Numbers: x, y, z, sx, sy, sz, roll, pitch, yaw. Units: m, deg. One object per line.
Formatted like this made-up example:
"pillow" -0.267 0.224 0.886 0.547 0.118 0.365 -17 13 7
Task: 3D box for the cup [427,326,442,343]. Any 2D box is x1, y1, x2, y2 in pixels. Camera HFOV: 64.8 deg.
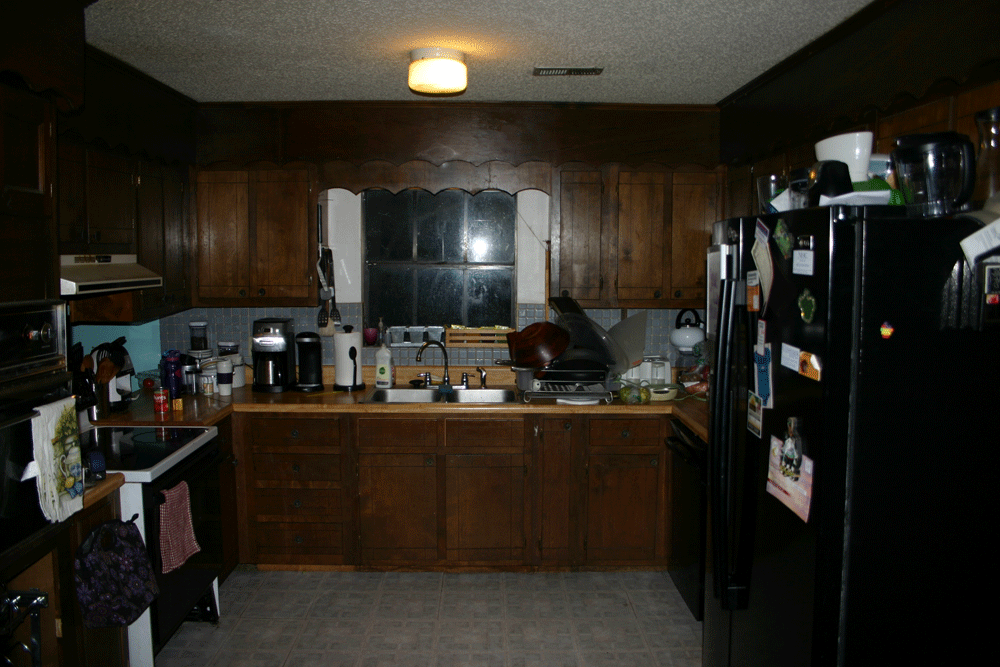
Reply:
"cup" -0.458 0.005 5.634 0.110 0.125 0.108 0 8 0

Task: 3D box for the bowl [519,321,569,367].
"bowl" 0.277 0.050 5.040 0.254 0.290 0.253 2 48 -3

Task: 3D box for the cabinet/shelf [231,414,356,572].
"cabinet/shelf" -1.419 1.069 5.144 0.708 0.969 0.575 4 -17 -34

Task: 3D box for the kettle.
"kettle" 1.567 -0.582 2.846 0.330 0.319 0.266 3 7 35

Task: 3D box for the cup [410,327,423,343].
"cup" -0.596 0.010 5.755 0.105 0.114 0.103 0 2 0

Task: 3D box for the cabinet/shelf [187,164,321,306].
"cabinet/shelf" -1.627 -0.694 5.231 0.960 1.085 0.431 0 2 -2

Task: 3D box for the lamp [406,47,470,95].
"lamp" -0.324 -1.431 4.360 0.351 0.207 0.344 -5 11 -38

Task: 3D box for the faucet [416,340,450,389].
"faucet" -0.452 0.190 5.415 0.239 0.370 0.373 -1 14 -4

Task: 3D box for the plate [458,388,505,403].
"plate" -0.120 0.417 5.414 0.340 0.078 0.120 -2 14 -9

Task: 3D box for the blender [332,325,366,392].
"blender" -1.001 0.165 5.255 0.150 0.399 0.171 7 16 27

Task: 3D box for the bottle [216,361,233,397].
"bottle" -1.780 0.281 5.106 0.094 0.210 0.153 -6 15 -22

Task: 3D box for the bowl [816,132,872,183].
"bowl" 1.347 -0.695 3.098 0.201 0.191 0.215 0 14 0

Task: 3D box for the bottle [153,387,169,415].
"bottle" -1.985 0.388 4.638 0.083 0.126 0.225 -6 15 -22

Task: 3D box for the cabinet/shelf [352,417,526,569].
"cabinet/shelf" -0.384 0.949 4.907 0.941 0.787 0.325 0 -1 0

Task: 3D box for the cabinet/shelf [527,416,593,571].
"cabinet/shelf" 0.360 0.987 4.919 0.310 0.920 0.188 1 14 3

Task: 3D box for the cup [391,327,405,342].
"cup" -0.729 0.015 5.689 0.095 0.092 0.109 1 -3 -5

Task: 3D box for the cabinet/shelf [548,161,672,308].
"cabinet/shelf" 0.800 -0.679 5.376 0.799 0.908 0.307 3 11 25
